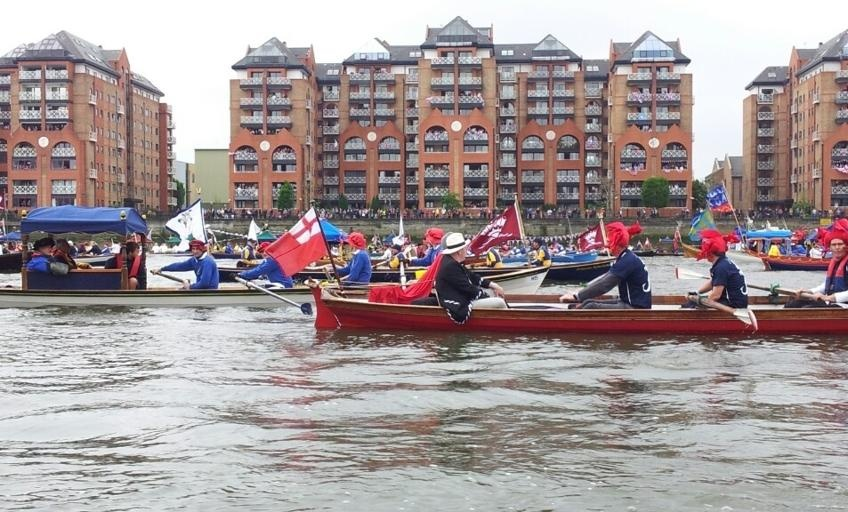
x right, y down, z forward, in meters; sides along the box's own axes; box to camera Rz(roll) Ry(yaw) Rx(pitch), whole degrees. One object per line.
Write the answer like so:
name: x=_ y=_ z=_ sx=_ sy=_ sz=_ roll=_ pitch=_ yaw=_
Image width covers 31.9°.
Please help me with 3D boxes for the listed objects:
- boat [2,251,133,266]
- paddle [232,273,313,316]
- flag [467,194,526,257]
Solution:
boat: x=-29.038 y=0.135 z=120.825 sx=7.206 sy=0.889 sz=1.431 roll=-1 pitch=8 yaw=-12
paddle: x=-11.519 y=2.928 z=112.761 sx=6.793 sy=0.730 sz=1.168 roll=21 pitch=5 yaw=24
flag: x=6.717 y=-3.066 z=143.392 sx=8.667 sy=5.842 sz=0.918 roll=-12 pitch=3 yaw=31
